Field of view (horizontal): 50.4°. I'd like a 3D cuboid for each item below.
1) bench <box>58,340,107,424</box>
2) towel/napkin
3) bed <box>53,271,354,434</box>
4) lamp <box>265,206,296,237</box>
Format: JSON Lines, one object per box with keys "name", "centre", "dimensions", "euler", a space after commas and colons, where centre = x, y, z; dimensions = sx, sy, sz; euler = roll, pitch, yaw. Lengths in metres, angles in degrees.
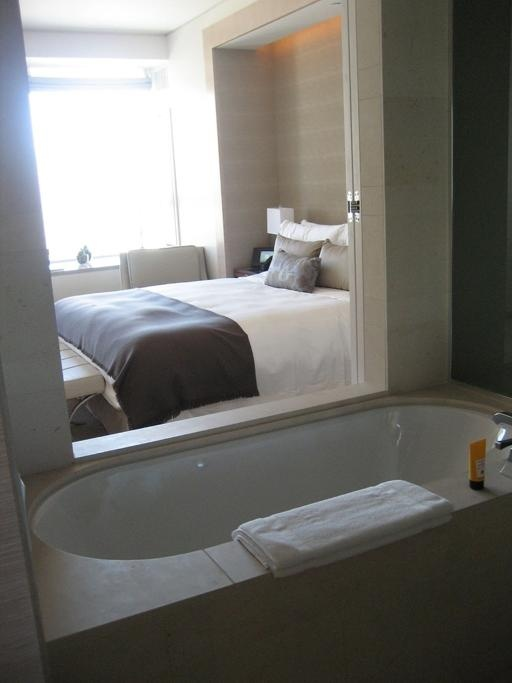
{"name": "bench", "centre": [-0.919, 0.202, 2.948], "dimensions": [0.172, 0.125, 0.524], "euler": [-11, 21, -30]}
{"name": "towel/napkin", "centre": [0.182, 0.379, 1.115], "dimensions": [0.322, 0.046, 0.182], "euler": [-13, 19, -28]}
{"name": "bed", "centre": [-0.130, -0.004, 3.072], "dimensions": [1.207, 0.285, 1.181], "euler": [-8, 17, -28]}
{"name": "lamp", "centre": [0.280, -1.171, 5.348], "dimensions": [0.283, 0.393, 0.276], "euler": [-11, 21, -31]}
